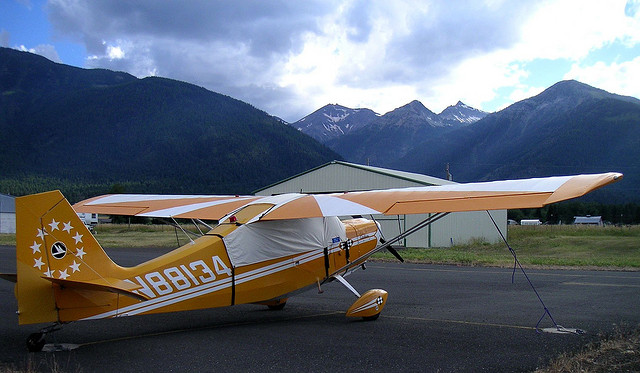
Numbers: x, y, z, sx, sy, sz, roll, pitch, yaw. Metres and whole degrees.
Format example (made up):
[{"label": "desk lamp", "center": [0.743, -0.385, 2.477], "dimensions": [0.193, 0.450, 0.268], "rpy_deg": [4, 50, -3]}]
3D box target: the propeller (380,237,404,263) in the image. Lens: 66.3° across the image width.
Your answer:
[{"label": "propeller", "center": [2.334, 2.015, 16.031], "dimensions": [0.093, 1.164, 0.414], "rpy_deg": [-18, 34, 51]}]
